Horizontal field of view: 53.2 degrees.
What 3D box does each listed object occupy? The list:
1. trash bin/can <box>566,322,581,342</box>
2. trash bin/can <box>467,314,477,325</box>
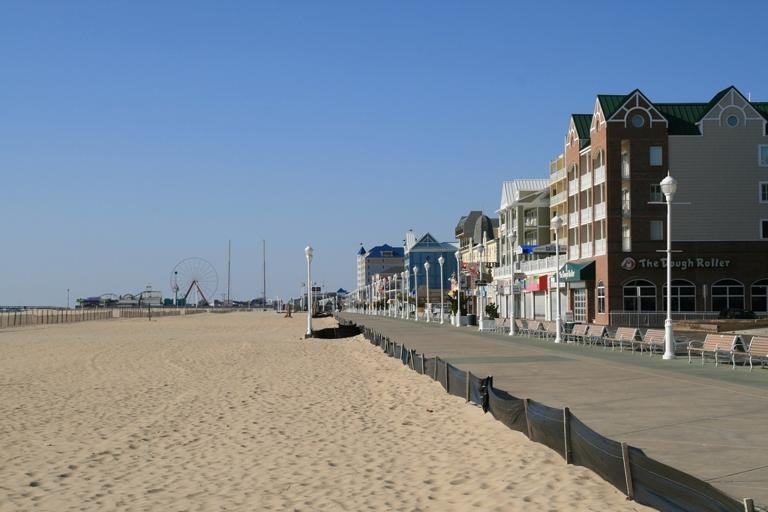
[{"bbox_3d":[9.482,3.862,38.311,0.811,1.031,0.821,-3,-5,30],"label":"trash bin/can"},{"bbox_3d":[7.133,5.271,62.002,0.761,0.777,0.737,1,-6,-14],"label":"trash bin/can"}]
